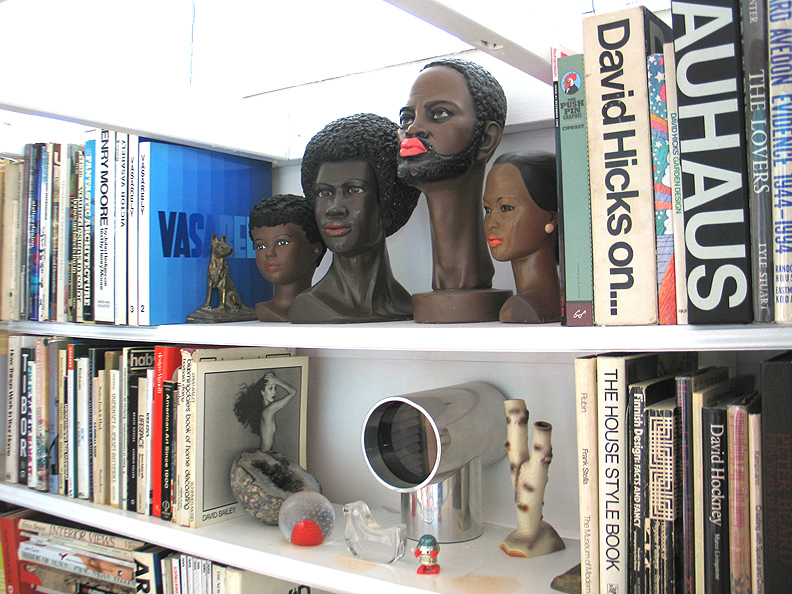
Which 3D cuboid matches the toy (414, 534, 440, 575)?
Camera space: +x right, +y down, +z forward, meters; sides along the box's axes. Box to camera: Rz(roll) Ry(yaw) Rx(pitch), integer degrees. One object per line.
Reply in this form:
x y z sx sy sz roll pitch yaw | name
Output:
0.052 0.428 1.438 0.047 0.059 0.039 -2 -7 20 | toy

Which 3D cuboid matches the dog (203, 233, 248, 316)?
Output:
-0.342 -0.049 1.749 0.073 0.160 0.146 0 0 5 | dog
